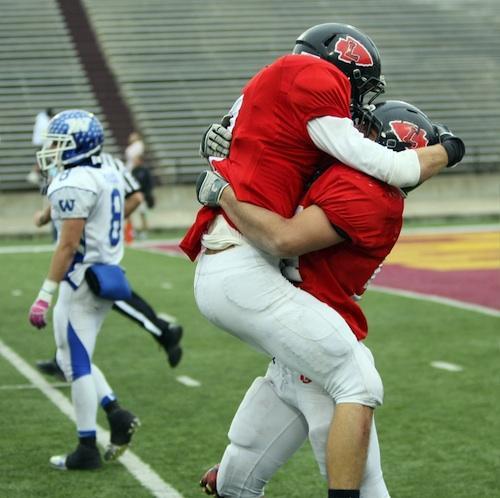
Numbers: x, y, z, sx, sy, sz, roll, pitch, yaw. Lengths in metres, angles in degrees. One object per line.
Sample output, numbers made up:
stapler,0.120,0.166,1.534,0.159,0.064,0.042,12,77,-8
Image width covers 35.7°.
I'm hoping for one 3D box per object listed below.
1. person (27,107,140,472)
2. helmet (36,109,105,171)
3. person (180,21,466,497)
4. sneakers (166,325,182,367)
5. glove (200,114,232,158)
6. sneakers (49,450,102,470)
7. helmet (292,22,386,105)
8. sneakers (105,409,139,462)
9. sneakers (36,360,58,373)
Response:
person,-0.825,0.162,3.763,0.424,1.684,0.621,0,9,5
helmet,-0.837,-0.536,3.826,0.389,0.274,0.276,1,3,-4
person,0.205,0.079,2.698,0.847,1.740,0.572,4,10,25
sneakers,-0.478,0.642,5.111,0.142,0.265,0.099,-1,16,11
glove,-0.111,-0.400,2.703,0.084,0.138,0.154,16,53,-6
sneakers,-0.810,0.978,3.636,0.225,0.078,0.095,5,-6,-4
helmet,0.348,-0.670,2.829,0.385,0.253,0.261,12,10,-15
sneakers,-0.628,0.899,3.741,0.144,0.242,0.142,-5,10,-29
sneakers,-1.204,0.704,4.621,0.134,0.043,0.093,-2,-26,18
